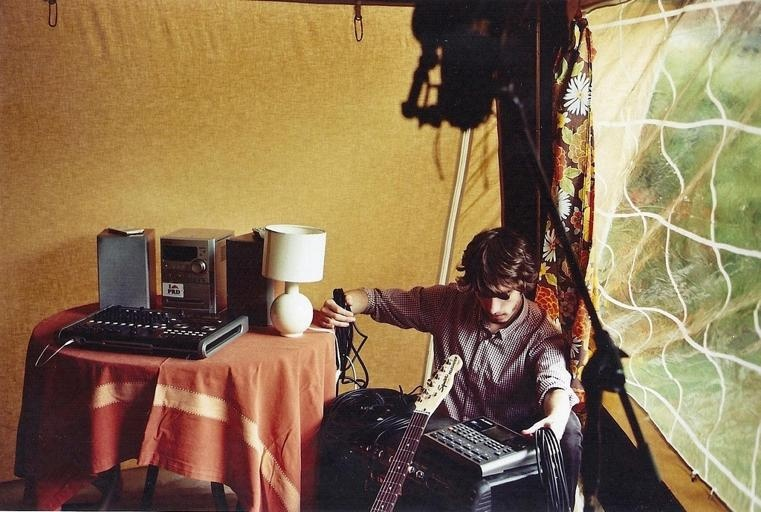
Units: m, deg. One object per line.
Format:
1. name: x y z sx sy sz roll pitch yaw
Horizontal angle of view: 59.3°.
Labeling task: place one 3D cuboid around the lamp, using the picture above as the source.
1. lamp: -0.400 0.094 3.041 0.246 0.545 0.246 3 15 -5

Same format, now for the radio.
1. radio: -0.894 0.080 3.255 0.317 0.424 0.253 2 12 -3
